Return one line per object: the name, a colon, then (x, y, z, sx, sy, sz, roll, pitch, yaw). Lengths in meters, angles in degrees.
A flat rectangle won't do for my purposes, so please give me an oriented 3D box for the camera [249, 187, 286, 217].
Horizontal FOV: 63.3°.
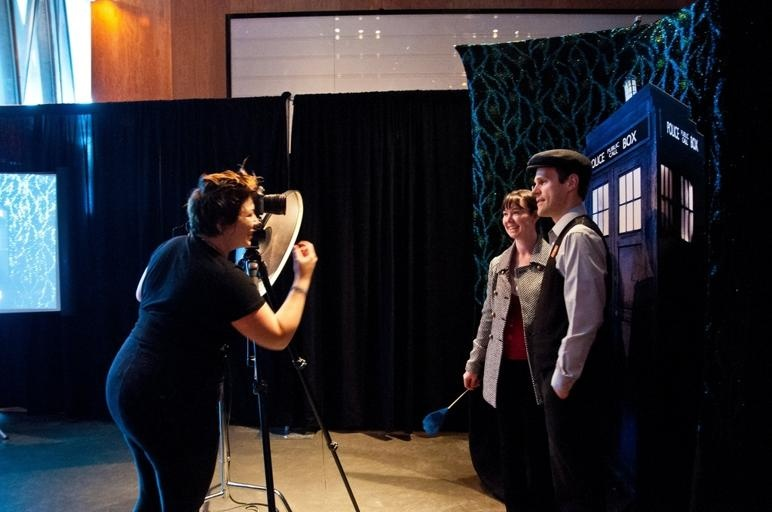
camera: (-0.692, -0.313, 3.685, 0.149, 0.092, 0.143, -1, -6, 2)
